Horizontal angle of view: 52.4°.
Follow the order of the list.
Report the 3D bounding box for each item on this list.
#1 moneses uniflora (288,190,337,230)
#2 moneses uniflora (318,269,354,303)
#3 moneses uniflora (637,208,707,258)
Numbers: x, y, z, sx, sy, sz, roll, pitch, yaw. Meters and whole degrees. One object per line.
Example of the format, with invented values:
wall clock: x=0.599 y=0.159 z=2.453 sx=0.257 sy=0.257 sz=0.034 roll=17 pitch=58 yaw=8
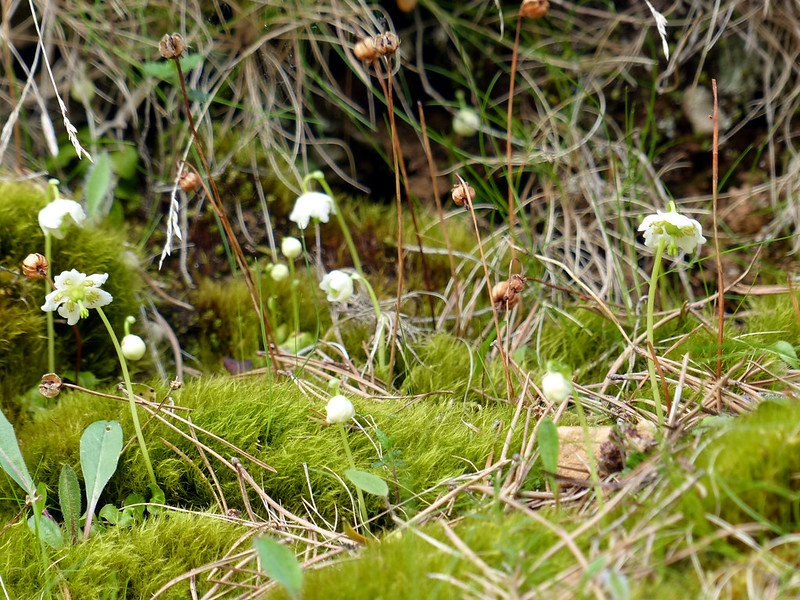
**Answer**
moneses uniflora: x=-0.250 y=-0.318 z=2.658 sx=0.123 sy=0.072 sz=0.128 roll=-34 pitch=12 yaw=9
moneses uniflora: x=-0.196 y=-0.042 z=2.656 sx=0.078 sy=0.102 sz=0.112 roll=-3 pitch=-3 yaw=33
moneses uniflora: x=0.778 y=-0.206 z=2.327 sx=0.165 sy=0.162 sz=0.156 roll=9 pitch=-11 yaw=-37
